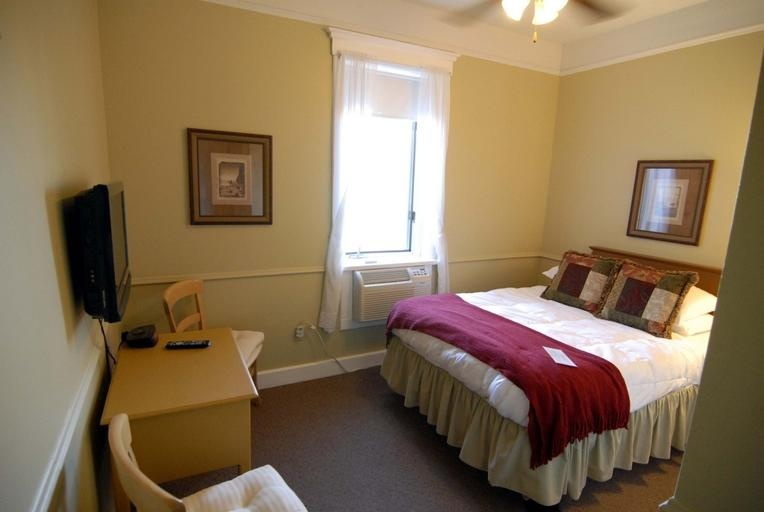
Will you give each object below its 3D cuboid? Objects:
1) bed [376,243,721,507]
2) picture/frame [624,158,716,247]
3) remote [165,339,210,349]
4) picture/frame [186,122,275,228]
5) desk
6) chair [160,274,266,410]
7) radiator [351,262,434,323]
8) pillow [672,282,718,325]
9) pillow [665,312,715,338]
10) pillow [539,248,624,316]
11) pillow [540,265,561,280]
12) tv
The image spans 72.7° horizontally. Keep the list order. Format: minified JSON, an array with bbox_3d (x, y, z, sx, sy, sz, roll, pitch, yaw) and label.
[{"bbox_3d":[1.240,0.814,3.703,2.005,0.942,1.560,-3,11,-23],"label":"bed"},{"bbox_3d":[2.495,-0.456,4.467,0.058,0.763,0.595,-6,19,-29],"label":"picture/frame"},{"bbox_3d":[-1.251,0.573,3.348,0.153,0.040,0.106,0,-6,-10],"label":"remote"},{"bbox_3d":[-1.225,-0.653,4.076,0.744,0.927,0.060,-4,11,-27],"label":"picture/frame"},{"bbox_3d":[-1.158,0.838,3.091,0.781,0.611,1.087,-5,19,-20],"label":"desk"},{"bbox_3d":[-1.240,0.584,4.364,0.818,1.341,0.896,1,14,-2],"label":"chair"},{"bbox_3d":[0.084,0.331,4.816,0.739,0.499,0.273,-7,18,-22],"label":"radiator"},{"bbox_3d":[2.297,0.360,3.856,0.264,0.271,0.068,2,12,-37],"label":"pillow"},{"bbox_3d":[2.217,0.507,3.796,0.265,0.077,0.166,-10,19,-14],"label":"pillow"},{"bbox_3d":[1.721,0.223,4.473,0.138,0.521,0.520,23,5,-24],"label":"pillow"},{"bbox_3d":[1.616,0.165,4.985,0.166,0.042,0.149,-7,43,55],"label":"pillow"},{"bbox_3d":[-1.654,-0.032,3.041,0.267,0.757,0.735,-4,12,-22],"label":"tv"}]
